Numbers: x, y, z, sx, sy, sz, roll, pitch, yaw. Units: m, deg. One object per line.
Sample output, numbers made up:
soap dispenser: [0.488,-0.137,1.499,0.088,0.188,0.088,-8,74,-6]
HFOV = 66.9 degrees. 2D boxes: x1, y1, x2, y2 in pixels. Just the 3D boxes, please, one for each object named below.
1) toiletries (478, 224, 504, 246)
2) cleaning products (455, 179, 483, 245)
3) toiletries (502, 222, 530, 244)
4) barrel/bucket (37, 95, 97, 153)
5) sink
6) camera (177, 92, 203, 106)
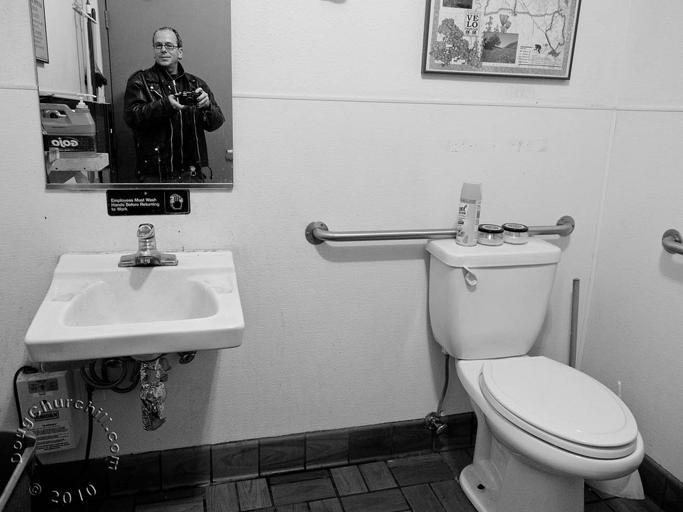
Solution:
toiletries: [0.563,-0.076,1.933,0.079,0.052,0.082,0,14,0]
cleaning products: [0.484,-0.169,1.954,0.084,0.224,0.173,5,23,15]
toiletries: [0.663,-0.083,1.958,0.078,0.055,0.081,-1,13,-4]
barrel/bucket: [-0.892,-0.419,1.662,0.185,0.213,0.118,-2,19,-16]
sink: [-0.622,0.151,1.628,0.593,0.204,0.476,-6,23,-13]
camera: [-0.516,-0.526,1.729,0.072,0.054,0.043,-3,22,-14]
